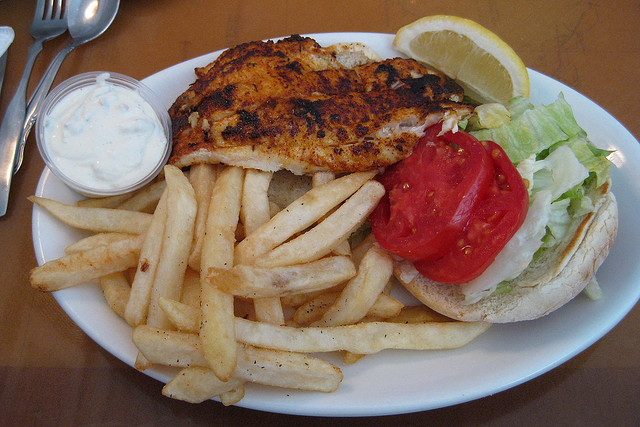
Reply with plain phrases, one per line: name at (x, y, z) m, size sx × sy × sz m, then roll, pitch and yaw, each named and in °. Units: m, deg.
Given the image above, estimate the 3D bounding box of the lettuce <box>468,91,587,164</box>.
lettuce at (1.659, -0.647, 4.638) m, size 0.683 × 0.219 × 0.676 m, roll -37°, pitch 40°, yaw -28°

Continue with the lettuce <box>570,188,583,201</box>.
lettuce at (1.888, -0.134, 4.367) m, size 0.066 × 0.016 × 0.072 m, roll -14°, pitch 88°, yaw 2°
